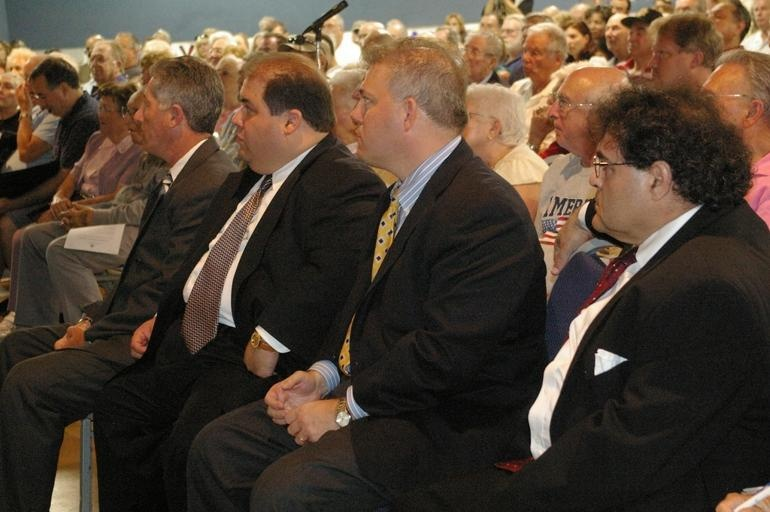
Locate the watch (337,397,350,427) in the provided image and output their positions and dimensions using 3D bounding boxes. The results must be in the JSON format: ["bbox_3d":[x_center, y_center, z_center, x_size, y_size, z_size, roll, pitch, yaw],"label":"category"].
[{"bbox_3d":[-0.156,0.595,2.629,0.066,0.100,0.091,2,9,-3],"label":"watch"}]

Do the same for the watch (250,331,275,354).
[{"bbox_3d":[-0.515,0.385,2.987,0.102,0.076,0.053,31,38,-18],"label":"watch"}]

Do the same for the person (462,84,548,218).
[{"bbox_3d":[0.655,-0.641,4.111,0.697,0.875,0.670,0,10,4],"label":"person"}]

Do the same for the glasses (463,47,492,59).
[{"bbox_3d":[0.805,-1.810,6.137,0.170,0.080,0.221,3,-2,38],"label":"glasses"}]

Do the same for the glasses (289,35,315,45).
[{"bbox_3d":[-0.643,-1.708,5.466,0.161,0.047,0.122,-7,10,-42],"label":"glasses"}]
